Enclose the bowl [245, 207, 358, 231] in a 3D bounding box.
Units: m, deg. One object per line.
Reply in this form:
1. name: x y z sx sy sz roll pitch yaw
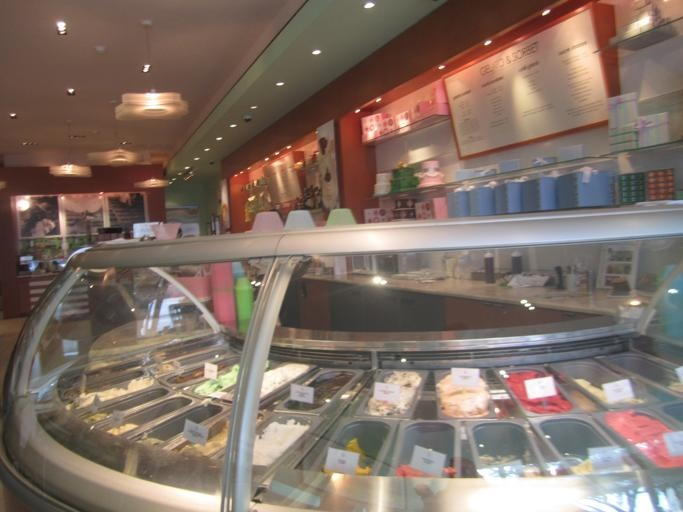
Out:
1. bowl: -0.194 -0.181 2.119 0.458 0.067 1.237 -5 4 -10
